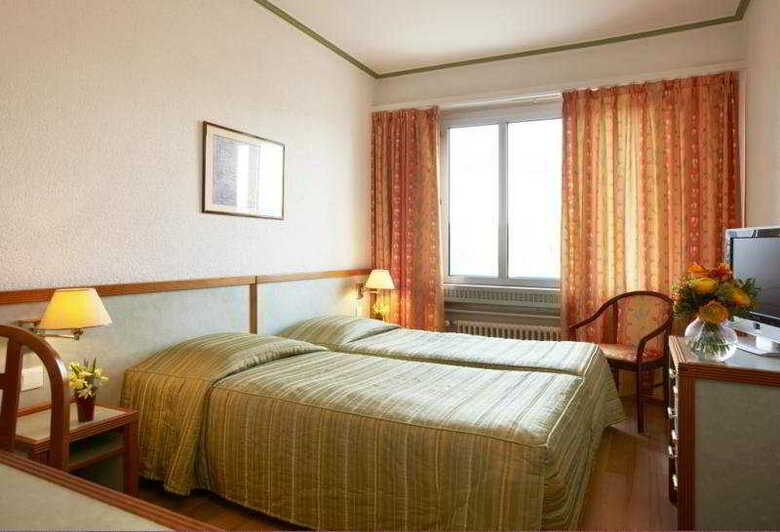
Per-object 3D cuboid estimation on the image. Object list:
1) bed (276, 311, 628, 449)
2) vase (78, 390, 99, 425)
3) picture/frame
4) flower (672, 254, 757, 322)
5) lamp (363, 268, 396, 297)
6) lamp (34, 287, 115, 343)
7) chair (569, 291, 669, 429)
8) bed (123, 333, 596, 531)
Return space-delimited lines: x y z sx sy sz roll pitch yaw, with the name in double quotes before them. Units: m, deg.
"bed" 0.510 0.681 4.795 1.979 0.612 1.268 0 -1 24
"vase" -1.890 0.861 3.558 0.101 0.196 0.117 -1 7 -32
"picture/frame" -1.258 -0.797 4.839 0.033 0.764 0.911 4 3 33
"flower" 1.988 0.166 3.619 0.381 0.415 0.401 -2 -8 -1
"lamp" -0.115 0.152 6.106 0.255 0.243 0.264 4 11 23
"lamp" -2.021 0.277 3.634 0.368 0.299 0.353 2 7 32
"chair" 2.109 0.816 5.269 0.852 1.169 0.759 1 4 39
"bed" -0.173 1.052 3.697 2.110 0.658 1.469 0 2 23
